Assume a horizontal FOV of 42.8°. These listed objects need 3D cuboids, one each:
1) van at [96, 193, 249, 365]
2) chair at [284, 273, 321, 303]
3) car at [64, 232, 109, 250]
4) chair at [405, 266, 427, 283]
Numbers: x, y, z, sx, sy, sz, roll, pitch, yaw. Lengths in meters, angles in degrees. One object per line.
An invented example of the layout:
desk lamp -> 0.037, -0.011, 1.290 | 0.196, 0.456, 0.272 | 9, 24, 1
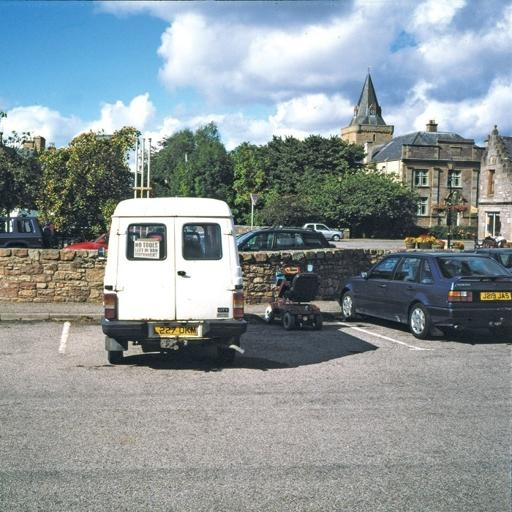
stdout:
van -> -1.208, 0.071, 10.041 | 1.988, 2.336, 3.618 | 1, 10, -3
chair -> 0.859, 0.574, 11.861 | 0.429, 0.483, 0.544 | 2, 3, -10
car -> -6.369, -0.583, 24.303 | 1.630, 0.820, 0.948 | 3, -2, -12
chair -> 2.831, 0.331, 11.584 | 0.278, 0.187, 0.469 | 1, 1, 0
